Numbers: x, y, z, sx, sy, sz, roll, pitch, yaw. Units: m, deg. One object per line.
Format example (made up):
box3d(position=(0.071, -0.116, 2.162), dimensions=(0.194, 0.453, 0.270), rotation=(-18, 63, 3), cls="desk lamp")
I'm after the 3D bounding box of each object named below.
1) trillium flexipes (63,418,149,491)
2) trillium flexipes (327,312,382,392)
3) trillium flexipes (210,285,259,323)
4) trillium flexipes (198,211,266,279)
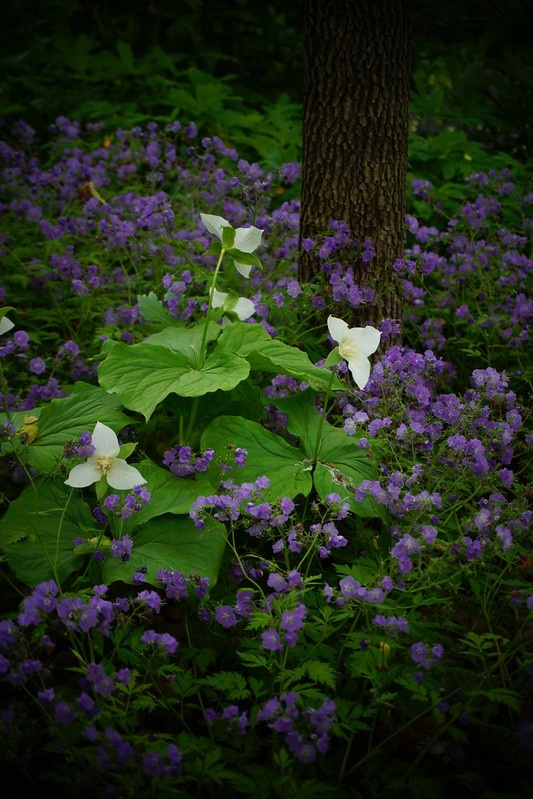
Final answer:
box3d(position=(-0.521, 0.191, 2.168), dimensions=(0.246, 0.252, 0.105), rotation=(5, 20, -10), cls="trillium flexipes")
box3d(position=(0.320, -0.175, 2.364), dimensions=(0.189, 0.206, 0.137), rotation=(24, 25, 37), cls="trillium flexipes")
box3d(position=(-0.145, -0.411, 2.899), dimensions=(0.168, 0.152, 0.259), rotation=(4, 19, -13), cls="trillium flexipes")
box3d(position=(-0.142, -0.627, 2.738), dimensions=(0.250, 0.251, 0.327), rotation=(11, 19, 7), cls="trillium flexipes")
